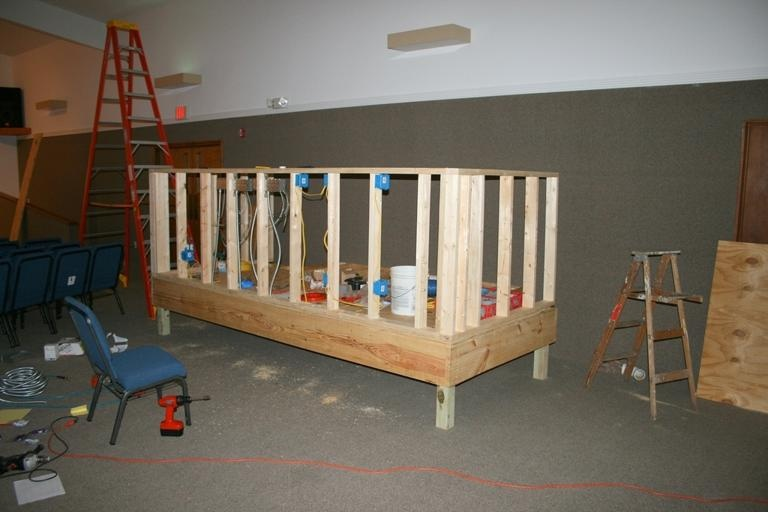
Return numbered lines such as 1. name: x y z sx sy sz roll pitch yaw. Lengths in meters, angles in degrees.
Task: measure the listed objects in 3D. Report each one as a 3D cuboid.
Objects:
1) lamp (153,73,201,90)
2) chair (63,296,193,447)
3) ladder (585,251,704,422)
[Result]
1. lamp: -3.472 -2.906 9.443 0.899 0.196 0.379 8 15 42
2. chair: -2.428 0.957 5.345 1.006 1.438 0.969 -3 6 -39
3. ladder: 2.762 0.708 5.946 1.030 1.547 0.938 8 15 41
